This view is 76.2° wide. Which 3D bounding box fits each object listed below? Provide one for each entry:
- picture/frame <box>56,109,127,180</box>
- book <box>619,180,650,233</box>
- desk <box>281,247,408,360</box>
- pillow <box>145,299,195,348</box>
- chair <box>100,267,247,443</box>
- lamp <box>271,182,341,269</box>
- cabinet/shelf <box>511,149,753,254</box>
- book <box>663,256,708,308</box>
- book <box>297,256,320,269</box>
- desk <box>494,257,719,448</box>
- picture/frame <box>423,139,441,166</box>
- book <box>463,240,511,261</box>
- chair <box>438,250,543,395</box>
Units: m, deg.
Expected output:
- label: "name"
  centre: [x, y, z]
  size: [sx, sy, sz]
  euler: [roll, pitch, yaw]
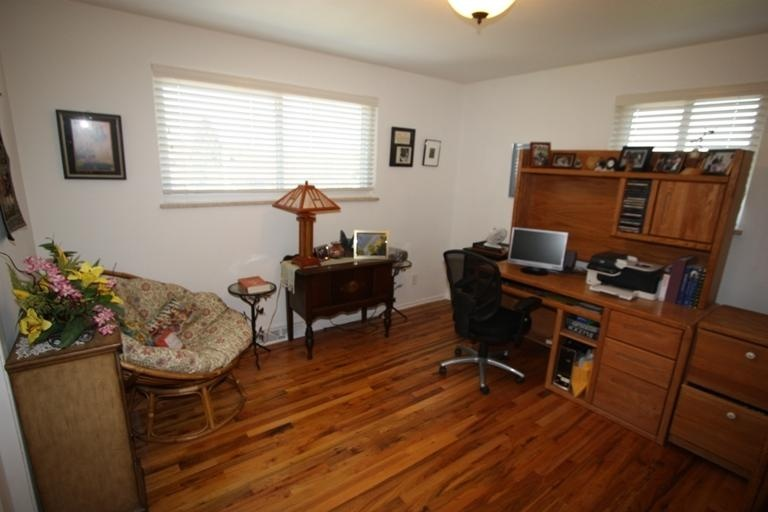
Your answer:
- label: "picture/frame"
  centre: [-2.479, -0.944, 4.102]
  size: [0.609, 0.689, 0.077]
  euler: [-6, 14, -38]
- label: "book"
  centre: [2.201, -0.449, 4.314]
  size: [0.103, 0.395, 0.291]
  euler: [3, 4, -29]
- label: "desk"
  centre: [-0.481, 0.460, 5.204]
  size: [1.171, 0.795, 0.730]
  euler: [-7, 11, -28]
- label: "pillow"
  centre: [-1.842, 0.577, 4.190]
  size: [0.106, 0.345, 0.356]
  euler: [-8, -39, 42]
- label: "chair"
  centre: [-1.741, 0.752, 4.109]
  size: [1.186, 1.010, 1.046]
  euler: [1, 22, -2]
- label: "lamp"
  centre: [-0.751, -0.307, 4.754]
  size: [0.430, 0.800, 0.470]
  euler: [-13, 18, -41]
- label: "cabinet/shelf"
  centre: [2.031, -0.426, 4.625]
  size: [0.572, 1.158, 2.090]
  euler: [-1, 14, -37]
- label: "book"
  centre: [2.508, 0.232, 4.083]
  size: [0.428, 0.379, 0.249]
  euler: [1, 12, -29]
- label: "book"
  centre: [-0.743, 0.054, 4.790]
  size: [0.152, 0.064, 0.144]
  euler: [-6, 14, -31]
- label: "desk"
  centre: [1.806, 0.686, 4.753]
  size: [2.092, 1.165, 0.763]
  euler: [19, 31, 38]
- label: "picture/frame"
  centre: [0.545, -1.226, 5.753]
  size: [0.315, 0.330, 0.046]
  euler: [-7, 18, -36]
- label: "book"
  centre: [1.164, -0.059, 5.222]
  size: [0.280, 0.068, 0.293]
  euler: [-12, 18, -40]
- label: "chair"
  centre: [0.965, 0.541, 4.607]
  size: [0.794, 1.225, 0.850]
  euler: [-14, 21, -43]
